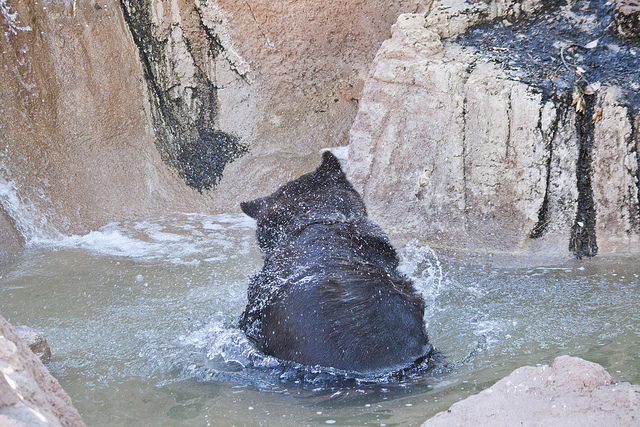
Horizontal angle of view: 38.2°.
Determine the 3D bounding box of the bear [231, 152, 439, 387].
[{"bbox_3d":[0.020,0.685,9.391,1.785,1.458,2.934,-6,25,-9],"label":"bear"}]
